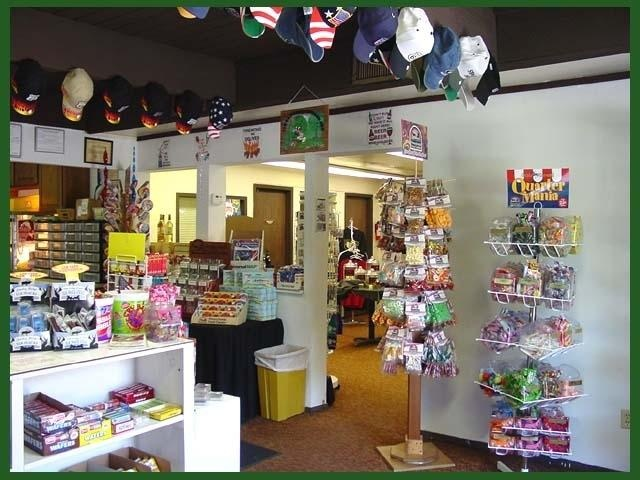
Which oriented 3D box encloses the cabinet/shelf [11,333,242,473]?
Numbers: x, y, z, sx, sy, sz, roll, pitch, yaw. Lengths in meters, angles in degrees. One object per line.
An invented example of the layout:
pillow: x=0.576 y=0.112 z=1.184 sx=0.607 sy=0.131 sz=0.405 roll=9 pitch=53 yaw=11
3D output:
cabinet/shelf: x=-1.063 y=0.893 z=2.613 sx=1.014 sy=0.938 sz=0.322 roll=-1 pitch=0 yaw=-43

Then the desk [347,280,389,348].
desk: x=0.826 y=1.212 z=7.721 sx=0.579 sy=0.840 sz=0.607 roll=8 pitch=-11 yaw=-9

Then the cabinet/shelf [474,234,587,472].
cabinet/shelf: x=1.701 y=0.941 z=3.932 sx=0.759 sy=1.616 sz=0.695 roll=-3 pitch=1 yaw=27

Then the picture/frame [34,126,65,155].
picture/frame: x=-3.535 y=-1.312 z=6.355 sx=0.054 sy=0.352 sz=0.412 roll=-7 pitch=-4 yaw=34

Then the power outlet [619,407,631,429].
power outlet: x=2.485 y=1.459 z=3.966 sx=0.063 sy=0.132 sz=0.035 roll=-3 pitch=1 yaw=16

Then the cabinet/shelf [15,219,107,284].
cabinet/shelf: x=-3.549 y=0.142 z=6.934 sx=1.843 sy=1.016 sz=0.260 roll=-3 pitch=1 yaw=37

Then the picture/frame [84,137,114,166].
picture/frame: x=-3.112 y=-1.248 z=6.832 sx=0.059 sy=0.371 sz=0.438 roll=5 pitch=4 yaw=38

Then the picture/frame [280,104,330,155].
picture/frame: x=-0.141 y=-1.171 z=5.101 sx=0.488 sy=0.408 sz=0.056 roll=5 pitch=11 yaw=30

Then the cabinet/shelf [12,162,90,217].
cabinet/shelf: x=-4.000 y=-0.763 z=7.351 sx=0.866 sy=0.791 sz=0.308 roll=3 pitch=5 yaw=30
